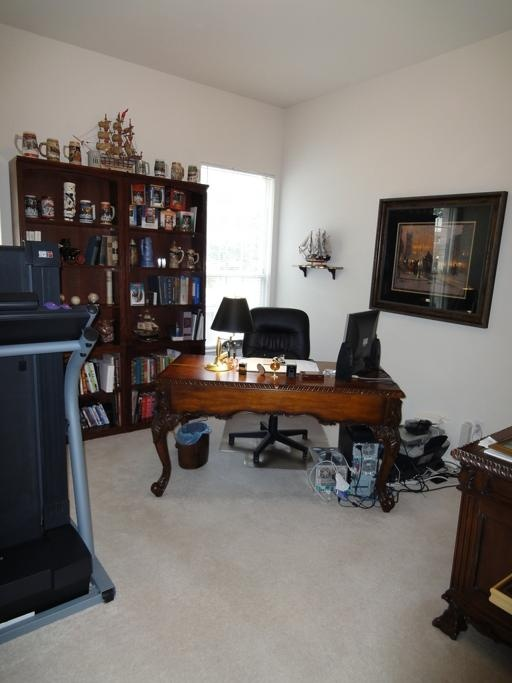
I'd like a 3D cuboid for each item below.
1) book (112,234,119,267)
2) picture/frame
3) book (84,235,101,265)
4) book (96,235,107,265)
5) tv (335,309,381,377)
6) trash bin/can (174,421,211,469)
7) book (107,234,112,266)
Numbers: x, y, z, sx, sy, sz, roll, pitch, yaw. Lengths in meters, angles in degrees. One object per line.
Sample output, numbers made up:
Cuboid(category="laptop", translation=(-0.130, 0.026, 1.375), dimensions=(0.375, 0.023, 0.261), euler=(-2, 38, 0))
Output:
Cuboid(category="book", translation=(-1.072, -0.684, 3.942), dimensions=(0.075, 0.200, 0.210), euler=(-1, 17, -12))
Cuboid(category="picture/frame", translation=(1.331, -0.585, 3.679), dimensions=(0.076, 0.964, 0.978), euler=(-6, 16, -32))
Cuboid(category="book", translation=(-1.201, -0.674, 3.813), dimensions=(0.119, 0.211, 0.139), euler=(-2, 13, -18))
Cuboid(category="book", translation=(-1.154, -0.683, 3.892), dimensions=(0.039, 0.169, 0.169), euler=(2, 10, -13))
Cuboid(category="tv", translation=(0.672, 0.012, 3.320), dimensions=(0.193, 0.430, 0.467), euler=(6, 10, 32))
Cuboid(category="trash bin/can", translation=(-0.438, 0.734, 3.620), dimensions=(0.224, 0.233, 0.280), euler=(6, 13, 32))
Cuboid(category="book", translation=(-1.114, -0.694, 3.938), dimensions=(0.041, 0.209, 0.070), euler=(-1, 13, -16))
